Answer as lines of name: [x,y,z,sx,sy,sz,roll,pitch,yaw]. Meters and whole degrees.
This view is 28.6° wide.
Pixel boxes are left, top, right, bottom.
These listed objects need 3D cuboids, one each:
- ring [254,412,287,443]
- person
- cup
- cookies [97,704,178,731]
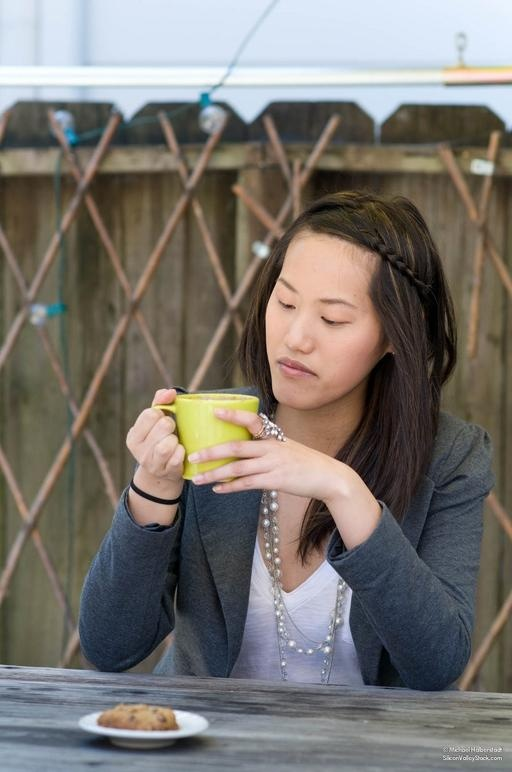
ring: [0.015,0.049,1.277,0.029,0.036,0.015,15,41,30]
person: [0.069,0.133,1.562,0.565,0.934,0.481,1,3,28]
cup: [-0.059,0.069,1.258,0.137,0.089,0.086,2,3,18]
cookies: [-0.124,0.344,1.049,0.086,0.023,0.048,3,-1,-1]
